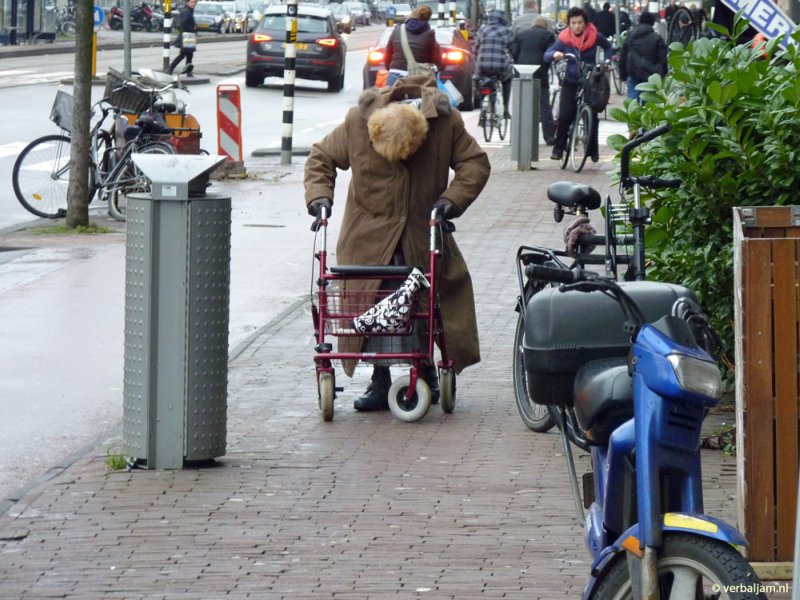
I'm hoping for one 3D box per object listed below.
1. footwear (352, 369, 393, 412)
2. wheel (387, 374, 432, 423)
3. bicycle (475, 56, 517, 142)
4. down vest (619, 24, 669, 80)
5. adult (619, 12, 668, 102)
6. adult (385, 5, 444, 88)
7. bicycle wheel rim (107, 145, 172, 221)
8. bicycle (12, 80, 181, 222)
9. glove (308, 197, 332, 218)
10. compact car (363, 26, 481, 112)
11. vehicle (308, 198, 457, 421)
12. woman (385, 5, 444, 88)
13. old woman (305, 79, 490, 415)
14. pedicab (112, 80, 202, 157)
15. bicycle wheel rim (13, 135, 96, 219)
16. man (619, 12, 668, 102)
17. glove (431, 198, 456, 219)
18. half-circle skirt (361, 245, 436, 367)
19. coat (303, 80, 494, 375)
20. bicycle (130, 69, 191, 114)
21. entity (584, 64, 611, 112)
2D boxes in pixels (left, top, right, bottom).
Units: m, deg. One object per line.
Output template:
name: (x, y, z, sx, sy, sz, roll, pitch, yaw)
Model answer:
footwear: (-0.190, 0.595, 10.705, 0.386, 0.290, 0.158, -2, 20, -4)
wheel: (0.057, 0.631, 10.326, 0.258, 0.291, 0.097, 4, 6, 35)
bicycle: (1.355, -2.985, 24.621, 0.560, 0.887, 1.407, 2, 1, 10)
down vest: (3.351, -3.367, 22.192, 0.566, 0.808, 0.697, -1, 13, -1)
adult: (3.322, -3.163, 22.273, 0.594, 1.562, 0.429, 5, 27, 14)
adult: (0.198, -3.149, 19.549, 0.617, 0.797, 1.187, -3, 14, -8)
bicycle wheel rim: (-2.792, -1.229, 17.018, 0.778, 0.821, 0.549, 7, 15, 28)
bicycle: (-3.179, -1.534, 17.153, 0.923, 1.434, 2.144, 8, 7, 35)
glove: (-0.518, -0.587, 10.370, 0.147, 0.150, 0.294, -1, 14, -3)
compact car: (0.623, -4.230, 28.973, 1.468, 1.185, 3.415, 0, 13, 3)
vehicle: (-0.126, -0.006, 10.587, 0.932, 1.428, 1.091, 5, 9, 21)
woman: (0.151, -3.149, 19.552, 0.649, 0.797, 1.126, -1, 14, -1)
old woman: (-0.005, -0.316, 10.631, 1.092, 2.296, 0.890, 2, 17, 12)
pedicab: (-2.790, -2.087, 18.424, 1.000, 0.727, 0.515, 6, -4, -5)
bicycle wheel rim: (-3.775, -1.285, 17.058, 0.630, 0.912, 0.643, -5, 14, -19)
man: (3.327, -3.162, 22.274, 0.592, 1.550, 0.442, 6, 25, 18)
glove: (0.284, -0.585, 10.358, 0.165, 0.134, 0.162, 2, 14, 10)
half-circle skirt: (0.002, 0.141, 10.434, 0.372, 0.813, 0.764, 1, 7, 2)
coat: (-0.034, -0.415, 10.585, 1.113, 1.989, 1.063, -1, 17, -1)
bicycle: (-2.626, -2.319, 18.340, 0.663, 0.467, 0.399, 11, -6, -25)
entity: (2.407, -2.557, 19.856, 0.291, 0.599, 0.702, 1, 14, 6)
